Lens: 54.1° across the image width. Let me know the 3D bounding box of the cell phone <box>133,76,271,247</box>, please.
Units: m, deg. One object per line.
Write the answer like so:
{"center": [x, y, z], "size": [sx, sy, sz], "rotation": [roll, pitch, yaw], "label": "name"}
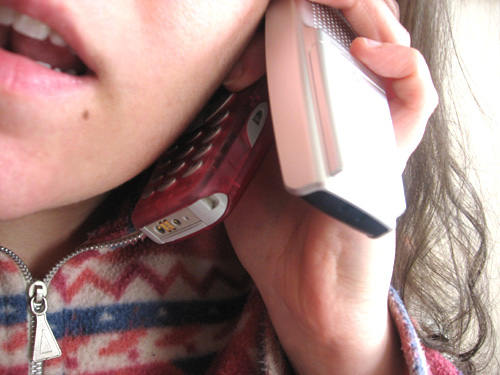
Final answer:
{"center": [-0.032, -0.031, 0.748], "size": [0.067, 0.154, 0.304], "rotation": [40, 72, -28], "label": "cell phone"}
